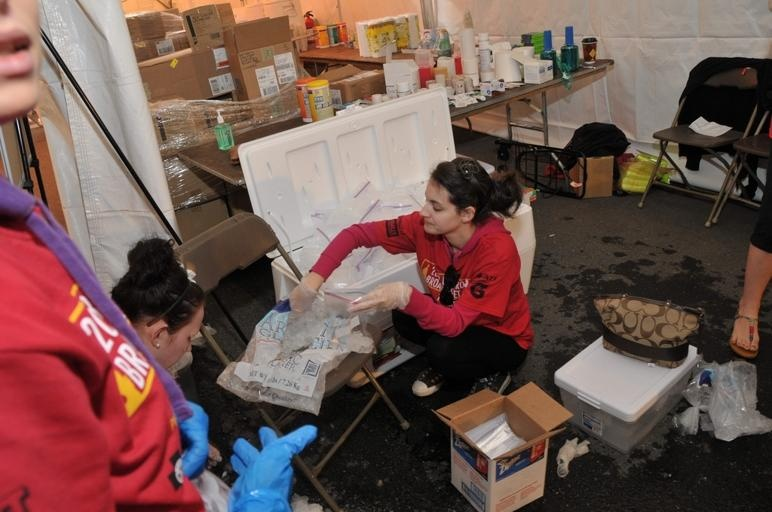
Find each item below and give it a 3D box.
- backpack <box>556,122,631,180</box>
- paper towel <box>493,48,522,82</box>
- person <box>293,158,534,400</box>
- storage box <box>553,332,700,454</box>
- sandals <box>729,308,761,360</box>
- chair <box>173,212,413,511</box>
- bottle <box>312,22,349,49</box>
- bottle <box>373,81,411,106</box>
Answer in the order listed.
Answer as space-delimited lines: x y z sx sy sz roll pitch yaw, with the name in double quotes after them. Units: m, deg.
1.866 -0.969 4.794 0.456 0.182 0.499 -13 19 -4 "backpack"
0.980 -1.519 4.376 0.227 0.263 0.232 -5 35 24 "paper towel"
0.147 0.162 2.688 1.247 1.191 0.767 0 21 1 "person"
1.096 0.563 2.484 0.641 0.291 0.415 -24 36 -33 "storage box"
1.892 0.348 2.830 0.119 0.095 0.334 2 34 34 "sandals"
-0.357 0.471 2.415 0.546 1.021 0.777 -39 60 -24 "chair"
-0.706 -2.744 6.788 0.388 0.236 0.385 -10 25 5 "bottle"
0.039 -1.153 3.801 0.293 0.138 0.220 -6 26 -1 "bottle"
